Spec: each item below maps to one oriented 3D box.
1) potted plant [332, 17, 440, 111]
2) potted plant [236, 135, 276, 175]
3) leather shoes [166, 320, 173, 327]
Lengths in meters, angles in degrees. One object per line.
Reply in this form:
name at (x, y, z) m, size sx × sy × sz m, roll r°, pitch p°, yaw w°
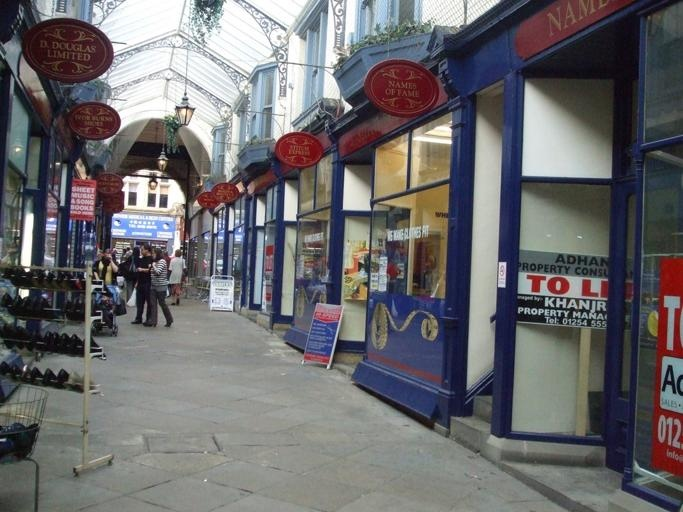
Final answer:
potted plant at (0.642, -3.277, 10.064) m, size 0.709 × 1.214 × 2.504 m, roll 3°, pitch 0°, yaw -24°
potted plant at (-2.836, -3.282, 19.243) m, size 0.794 × 1.128 × 2.287 m, roll 3°, pitch 0°, yaw -20°
leather shoes at (-4.684, 1.844, 16.025) m, size 0.108 × 0.208 × 0.197 m, roll 5°, pitch 1°, yaw 22°
